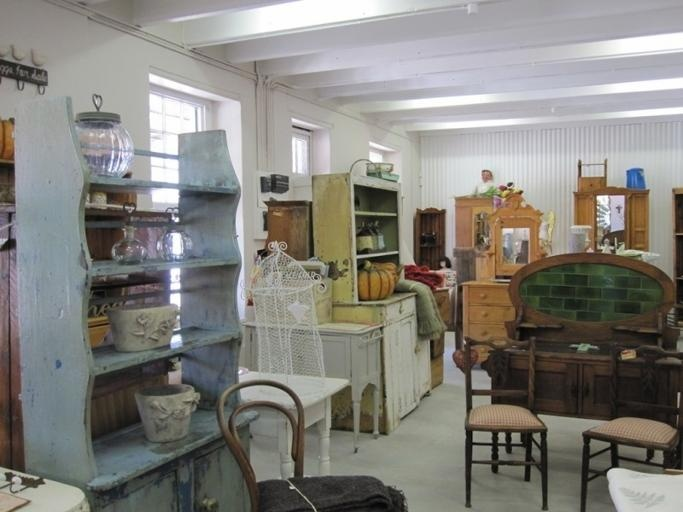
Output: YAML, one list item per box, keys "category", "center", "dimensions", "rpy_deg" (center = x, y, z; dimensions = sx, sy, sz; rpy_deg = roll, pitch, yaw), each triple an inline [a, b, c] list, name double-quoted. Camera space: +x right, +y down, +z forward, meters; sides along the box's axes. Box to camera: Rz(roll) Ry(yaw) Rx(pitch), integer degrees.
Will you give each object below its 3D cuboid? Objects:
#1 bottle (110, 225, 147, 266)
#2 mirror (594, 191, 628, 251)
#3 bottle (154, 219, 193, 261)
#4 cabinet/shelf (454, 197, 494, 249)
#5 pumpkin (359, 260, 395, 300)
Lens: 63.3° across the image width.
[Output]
- category: "bottle"
  center: [-1.127, -0.050, 2.882]
  dimensions: [0.190, 0.246, 0.191]
  rpy_deg: [1, -1, 0]
- category: "mirror"
  center: [4.387, -0.562, 9.051]
  dimensions: [0.455, 0.894, 0.355]
  rpy_deg: [1, 5, 24]
- category: "bottle"
  center: [-0.922, -0.074, 3.041]
  dimensions: [0.206, 0.253, 0.209]
  rpy_deg: [1, 0, 15]
- category: "cabinet/shelf"
  center: [2.282, -0.590, 9.615]
  dimensions: [0.618, 0.881, 0.605]
  rpy_deg: [0, 5, 10]
- category: "pumpkin"
  center: [0.286, 0.248, 5.553]
  dimensions: [0.380, 0.340, 0.370]
  rpy_deg: [-9, 7, -24]
